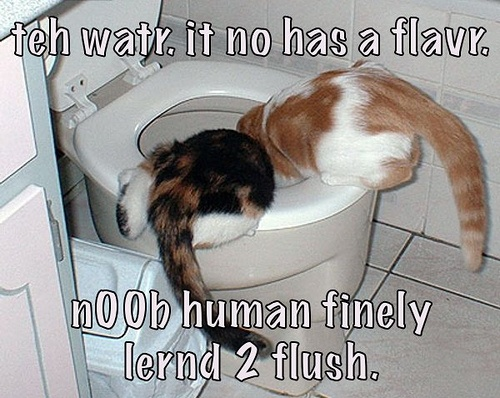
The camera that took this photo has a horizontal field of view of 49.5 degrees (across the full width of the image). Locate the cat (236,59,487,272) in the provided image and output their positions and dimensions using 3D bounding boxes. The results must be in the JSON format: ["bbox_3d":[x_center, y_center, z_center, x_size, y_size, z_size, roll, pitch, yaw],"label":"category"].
[{"bbox_3d":[0.196,-0.025,0.947,0.406,0.383,0.209,-9,23,-3],"label":"cat"}]

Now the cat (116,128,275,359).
[{"bbox_3d":[-0.074,0.041,0.824,0.259,0.098,0.451,-7,42,-8],"label":"cat"}]
